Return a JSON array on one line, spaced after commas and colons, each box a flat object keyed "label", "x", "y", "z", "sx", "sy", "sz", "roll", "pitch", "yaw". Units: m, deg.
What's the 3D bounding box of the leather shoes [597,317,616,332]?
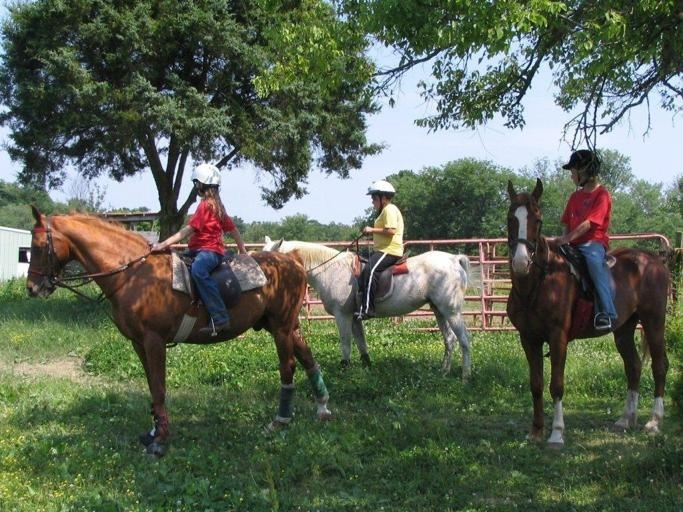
[{"label": "leather shoes", "x": 4.465, "y": 1.150, "z": 13.358, "sx": 0.218, "sy": 0.218, "sz": 0.085, "roll": -3, "pitch": 1, "yaw": 0}]

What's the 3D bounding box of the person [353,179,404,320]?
[{"label": "person", "x": 0.797, "y": -0.125, "z": 16.302, "sx": 0.953, "sy": 2.976, "sz": 1.162, "roll": 1, "pitch": 12, "yaw": 6}]

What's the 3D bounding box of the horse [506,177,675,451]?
[{"label": "horse", "x": 4.280, "y": 1.044, "z": 14.000, "sx": 4.776, "sy": 4.445, "sz": 1.428, "roll": 3, "pitch": -2, "yaw": -32}]
